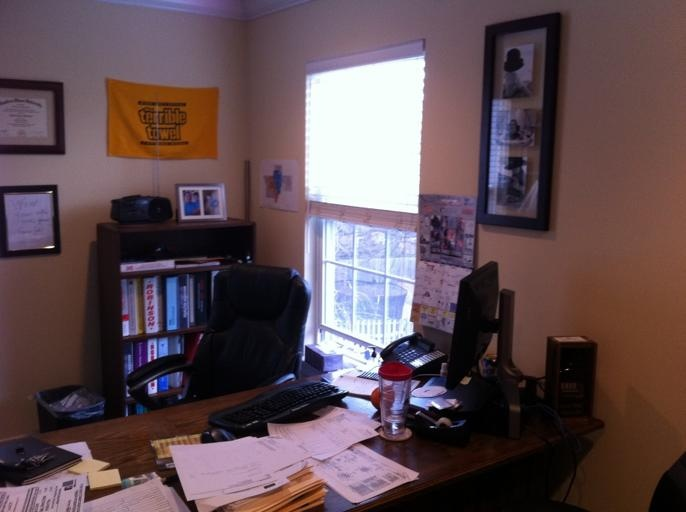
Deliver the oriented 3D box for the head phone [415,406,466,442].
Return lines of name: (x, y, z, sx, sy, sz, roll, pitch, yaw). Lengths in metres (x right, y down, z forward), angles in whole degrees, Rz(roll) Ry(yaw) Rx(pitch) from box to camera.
head phone: (0.379, 0.667, 2.065, 0.107, 0.068, 0.148, 6, 6, 3)

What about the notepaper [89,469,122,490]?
notepaper: (-0.821, 0.765, 1.817, 0.105, 0.021, 0.092, -4, 11, -24)

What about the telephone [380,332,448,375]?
telephone: (0.368, 0.496, 2.689, 0.237, 0.126, 0.213, -13, 20, -37)

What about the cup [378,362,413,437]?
cup: (0.206, 0.580, 2.131, 0.149, 0.267, 0.151, 0, 2, 0)

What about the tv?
tv: (0.602, 0.412, 2.223, 0.352, 0.677, 0.600, 4, 8, 23)

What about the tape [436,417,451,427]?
tape: (0.393, 0.644, 2.051, 0.036, 0.028, 0.037, 0, 7, 2)

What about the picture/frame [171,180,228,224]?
picture/frame: (-1.043, -0.377, 3.774, 0.340, 0.288, 0.023, 0, -8, -33)

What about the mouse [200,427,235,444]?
mouse: (-0.479, 0.678, 1.996, 0.063, 0.017, 0.058, 6, 6, 38)
